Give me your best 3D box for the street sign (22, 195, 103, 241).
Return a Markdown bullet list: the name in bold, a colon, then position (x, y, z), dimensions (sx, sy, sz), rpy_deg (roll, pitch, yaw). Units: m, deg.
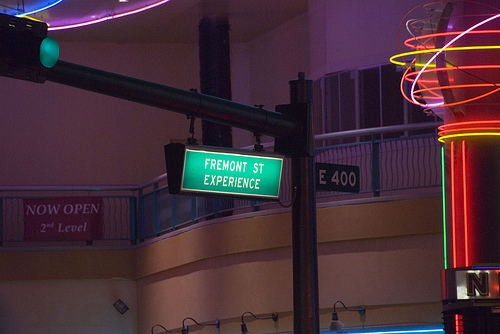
- **street sign**: position (-4.506, 1.219, 20.906), dimensions (1.992, 1.130, 0.062), rpy_deg (1, 2, -26)
